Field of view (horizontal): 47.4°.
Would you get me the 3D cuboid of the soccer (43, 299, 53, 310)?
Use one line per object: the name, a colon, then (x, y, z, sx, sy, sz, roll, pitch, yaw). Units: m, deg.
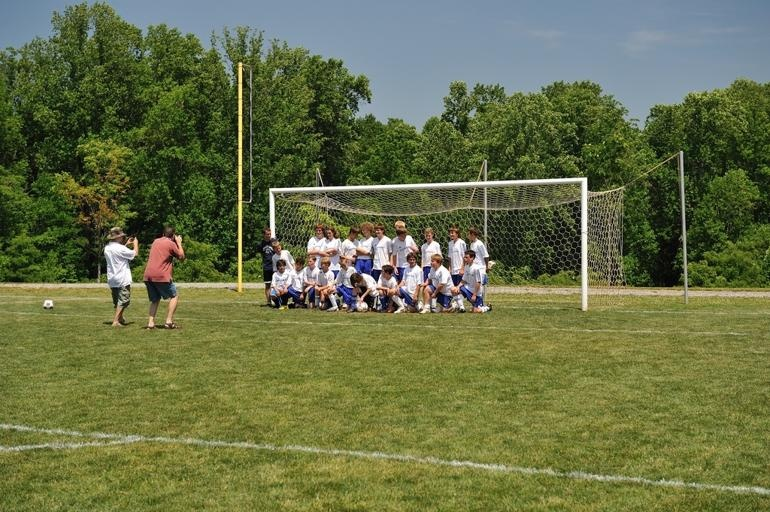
soccer: (-9.767, 1.417, 25.557, 0.315, 0.148, 0.528, 4, 6, -16)

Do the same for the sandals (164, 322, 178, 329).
sandals: (-5.300, 1.740, 21.688, 0.383, 0.160, 0.133, -1, 3, -3)

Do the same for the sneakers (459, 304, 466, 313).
sneakers: (2.203, 1.493, 24.905, 0.190, 0.179, 0.218, -3, 6, -7)

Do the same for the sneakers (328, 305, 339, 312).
sneakers: (-1.448, 1.524, 24.966, 0.348, 0.135, 0.124, -2, -4, 19)

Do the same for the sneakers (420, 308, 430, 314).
sneakers: (1.132, 1.540, 24.463, 0.254, 0.140, 0.288, 0, -2, -1)

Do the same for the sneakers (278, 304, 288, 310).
sneakers: (-2.961, 1.533, 25.939, 0.335, 0.132, 0.111, 1, -4, 16)

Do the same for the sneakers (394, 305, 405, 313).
sneakers: (0.447, 1.522, 24.730, 0.337, 0.134, 0.116, -19, -27, 39)

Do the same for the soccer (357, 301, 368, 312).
soccer: (-0.624, 1.426, 24.759, 0.266, 0.236, 0.305, 15, 25, -3)
